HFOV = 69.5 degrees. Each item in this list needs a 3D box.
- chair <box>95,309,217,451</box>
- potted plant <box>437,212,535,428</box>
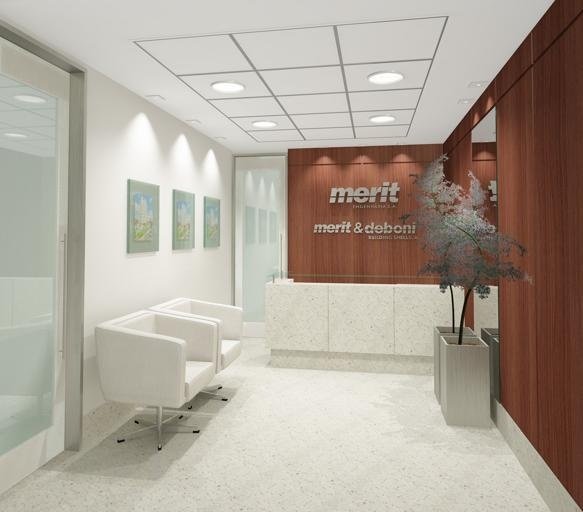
[{"bbox_3d":[-1.262,1.175,4.112,0.827,1.208,1.038,2,1,10],"label":"chair"},{"bbox_3d":[1.625,0.592,3.819,0.605,2.072,1.125,0,2,14],"label":"potted plant"}]
